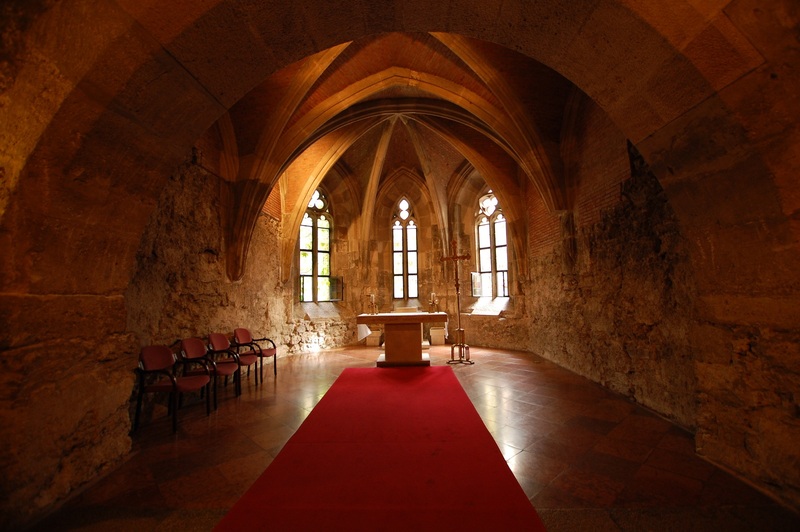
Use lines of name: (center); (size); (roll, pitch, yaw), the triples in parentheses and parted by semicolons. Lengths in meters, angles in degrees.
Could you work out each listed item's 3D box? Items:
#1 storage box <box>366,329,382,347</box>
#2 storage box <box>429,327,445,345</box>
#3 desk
storage box: (-0.605, 1.748, 10.655); (0.443, 0.335, 0.314); (-2, -13, 5)
storage box: (0.857, 1.666, 10.577); (0.431, 0.418, 0.323); (-1, -10, 1)
desk: (0.038, 1.111, 6.736); (1.287, 0.775, 0.769); (-1, -4, -2)
